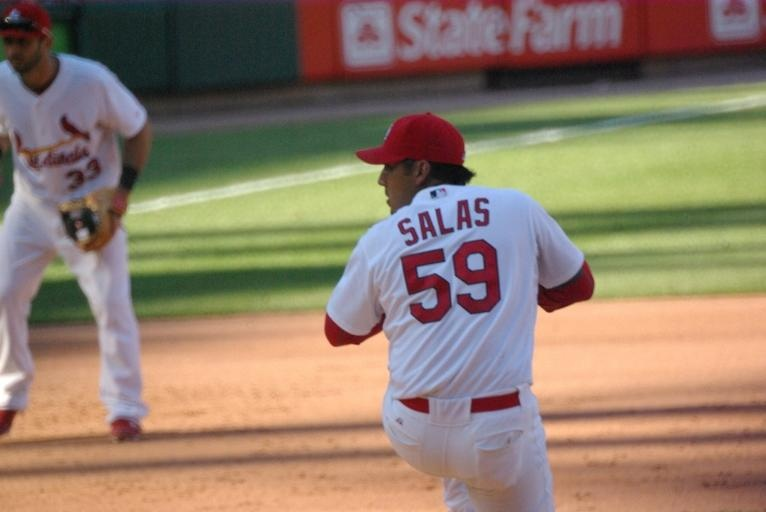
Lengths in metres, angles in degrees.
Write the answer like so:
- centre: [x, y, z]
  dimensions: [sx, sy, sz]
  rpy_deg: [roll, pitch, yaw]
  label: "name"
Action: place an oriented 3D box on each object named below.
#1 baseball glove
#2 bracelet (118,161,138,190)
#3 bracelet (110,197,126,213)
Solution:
- centre: [-2.446, -0.354, 13.152]
  dimensions: [0.630, 0.434, 0.225]
  rpy_deg: [-12, 10, 39]
  label: "baseball glove"
- centre: [-2.338, -0.712, 13.503]
  dimensions: [0.225, 0.220, 0.228]
  rpy_deg: [21, -9, -5]
  label: "bracelet"
- centre: [-2.359, -0.455, 13.294]
  dimensions: [0.136, 0.119, 0.035]
  rpy_deg: [6, -23, -35]
  label: "bracelet"
